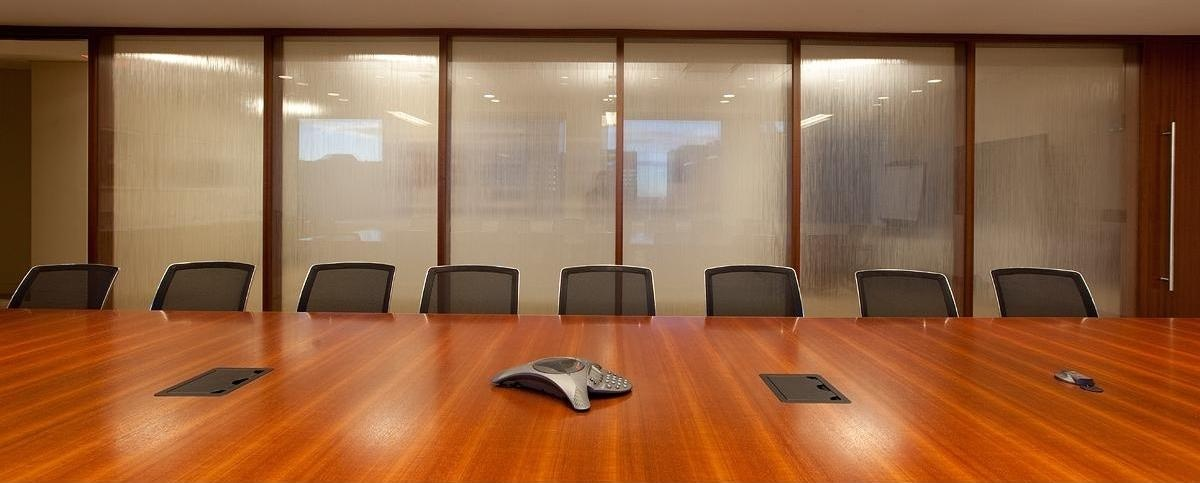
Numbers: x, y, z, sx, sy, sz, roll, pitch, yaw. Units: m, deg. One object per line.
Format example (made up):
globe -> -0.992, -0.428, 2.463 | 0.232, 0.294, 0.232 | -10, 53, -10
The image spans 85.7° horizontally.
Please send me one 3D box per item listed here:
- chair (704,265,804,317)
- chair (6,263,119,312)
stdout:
chair -> 2.326, 0.790, 10.044 | 1.118, 1.371, 0.978 | -1, 1, 2
chair -> -8.002, 0.683, 9.663 | 1.408, 0.638, 0.417 | 0, 1, 3
